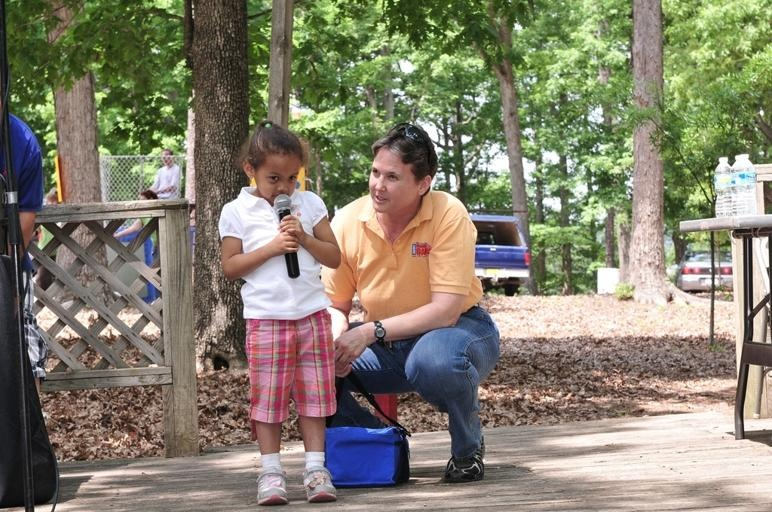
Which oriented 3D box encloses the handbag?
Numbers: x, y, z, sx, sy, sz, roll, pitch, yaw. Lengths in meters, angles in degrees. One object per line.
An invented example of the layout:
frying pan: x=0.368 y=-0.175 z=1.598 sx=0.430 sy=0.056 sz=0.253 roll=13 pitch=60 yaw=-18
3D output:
handbag: x=-0.146 y=1.509 z=8.175 sx=0.516 sy=0.325 sz=0.501 roll=-2 pitch=-5 yaw=7

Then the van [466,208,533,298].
van: x=2.204 y=-0.105 z=20.931 sx=1.117 sy=0.985 sz=1.950 roll=0 pitch=4 yaw=-1

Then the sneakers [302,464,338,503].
sneakers: x=-0.497 y=1.701 z=7.991 sx=0.246 sy=0.246 sz=0.263 roll=-1 pitch=4 yaw=-4

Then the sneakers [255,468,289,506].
sneakers: x=-0.854 y=1.726 z=7.948 sx=0.231 sy=0.230 sz=0.231 roll=-2 pitch=5 yaw=-6

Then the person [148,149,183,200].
person: x=-3.716 y=-1.414 z=17.931 sx=0.504 sy=0.859 sz=3.088 roll=-2 pitch=4 yaw=-12

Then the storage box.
storage box: x=-0.216 y=1.536 z=8.457 sx=0.711 sy=0.439 sz=0.810 roll=6 pitch=3 yaw=10

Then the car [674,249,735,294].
car: x=6.975 y=0.366 z=23.280 sx=1.054 sy=0.696 sz=2.203 roll=0 pitch=2 yaw=9

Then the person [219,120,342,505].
person: x=-0.793 y=0.407 z=8.021 sx=0.882 sy=2.839 sz=0.589 roll=-2 pitch=5 yaw=-4
